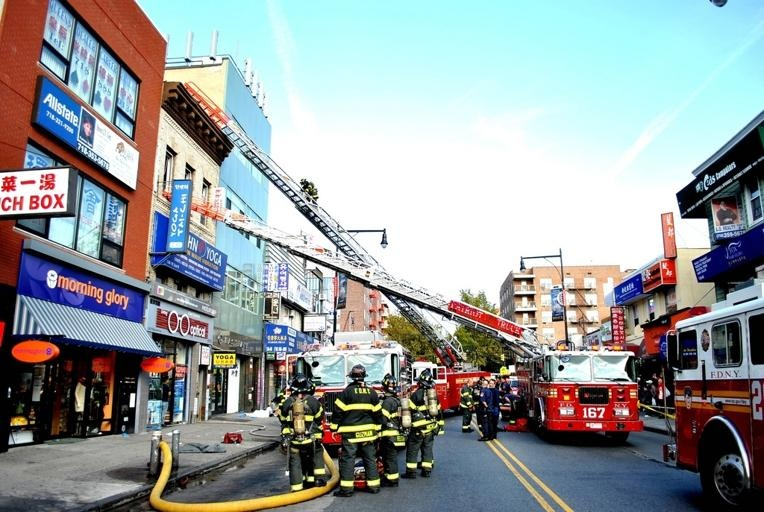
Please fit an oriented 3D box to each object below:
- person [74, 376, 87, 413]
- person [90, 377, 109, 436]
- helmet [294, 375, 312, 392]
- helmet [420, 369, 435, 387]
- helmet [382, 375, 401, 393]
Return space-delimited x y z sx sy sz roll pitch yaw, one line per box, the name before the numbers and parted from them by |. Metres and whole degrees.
person | -10.649 4.927 21.146 0.360 1.205 0.275 7 -19 -28
person | -10.199 5.447 21.661 0.443 1.909 0.879 -4 -17 6
helmet | -1.893 3.054 14.259 0.332 0.446 0.419 4 4 -3
helmet | 1.182 3.215 15.682 0.377 0.365 0.547 4 -1 3
helmet | 0.205 3.282 15.222 0.366 0.306 0.533 7 -18 -7
